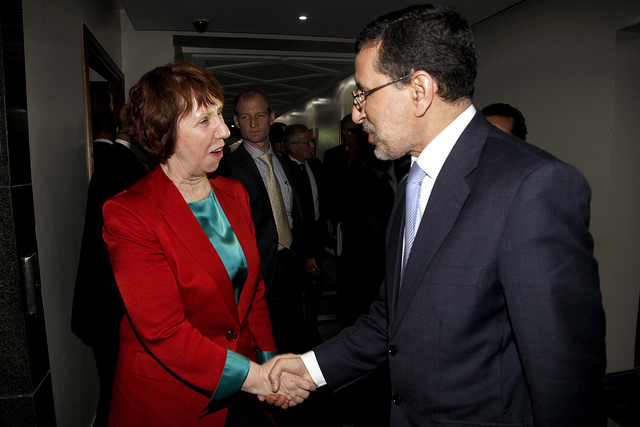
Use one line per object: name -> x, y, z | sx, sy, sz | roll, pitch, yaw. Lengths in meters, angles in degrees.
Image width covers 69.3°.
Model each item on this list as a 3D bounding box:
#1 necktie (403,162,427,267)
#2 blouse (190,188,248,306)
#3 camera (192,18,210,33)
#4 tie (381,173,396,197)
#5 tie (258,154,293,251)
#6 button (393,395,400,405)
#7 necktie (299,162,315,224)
necktie -> 0.474, 0.007, 2.294 | 0.083, 0.570, 0.064 | 11, -11, -34
blouse -> -0.546, 0.181, 2.532 | 0.273, 0.607, 0.149 | 1, 3, 25
camera -> -1.434, -2.270, 5.618 | 0.133, 0.102, 0.137 | -3, 3, 0
tie -> 0.640, -0.275, 4.466 | 0.064, 0.185, 0.134 | -30, -9, 34
tie -> -0.369, -0.105, 3.919 | 0.243, 0.751, 0.061 | -15, -11, -2
button -> 0.358, 0.880, 2.197 | 0.033, 0.043, 0.010 | 2, 4, 39
necktie -> -0.128, -0.227, 4.794 | 0.099, 0.719, 0.095 | -8, -26, 5
